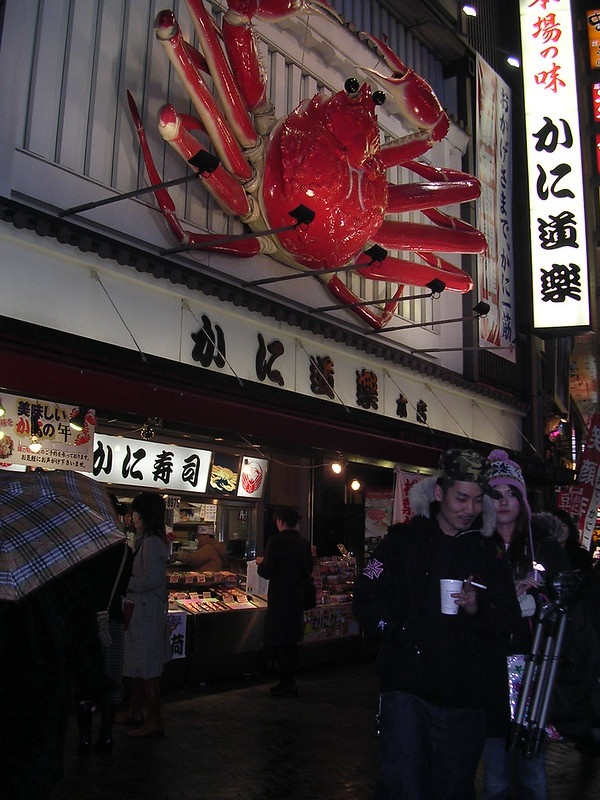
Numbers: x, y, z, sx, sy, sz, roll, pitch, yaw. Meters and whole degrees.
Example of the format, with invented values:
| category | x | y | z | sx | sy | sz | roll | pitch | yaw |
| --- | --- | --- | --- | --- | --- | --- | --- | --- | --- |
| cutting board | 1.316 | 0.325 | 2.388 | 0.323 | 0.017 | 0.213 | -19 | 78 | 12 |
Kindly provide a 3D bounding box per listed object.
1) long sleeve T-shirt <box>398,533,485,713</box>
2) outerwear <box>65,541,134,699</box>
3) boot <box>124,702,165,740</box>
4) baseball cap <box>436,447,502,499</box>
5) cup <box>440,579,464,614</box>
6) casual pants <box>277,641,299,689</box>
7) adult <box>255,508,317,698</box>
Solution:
| category | x | y | z | sx | sy | sz | roll | pitch | yaw |
| --- | --- | --- | --- | --- | --- | --- | --- | --- | --- |
| long sleeve T-shirt | 0.531 | 0.867 | 2.582 | 0.395 | 0.620 | 0.334 | 17 | -28 | -14 |
| outerwear | -0.902 | 1.045 | 3.165 | 0.227 | 0.731 | 0.167 | 16 | -24 | -30 |
| boot | -1.221 | 2.481 | 5.383 | 0.170 | 0.351 | 0.456 | -9 | -15 | 16 |
| baseball cap | 0.689 | 0.298 | 2.825 | 0.243 | 0.135 | 0.176 | 1 | -15 | 42 |
| cup | 0.578 | 0.737 | 2.550 | 0.072 | 0.133 | 0.111 | 9 | -14 | -24 |
| casual pants | -0.132 | 2.853 | 7.355 | 0.194 | 0.448 | 0.234 | 2 | -13 | 5 |
| adult | -0.189 | 2.243 | 7.749 | 0.584 | 1.914 | 0.678 | -10 | -16 | 43 |
